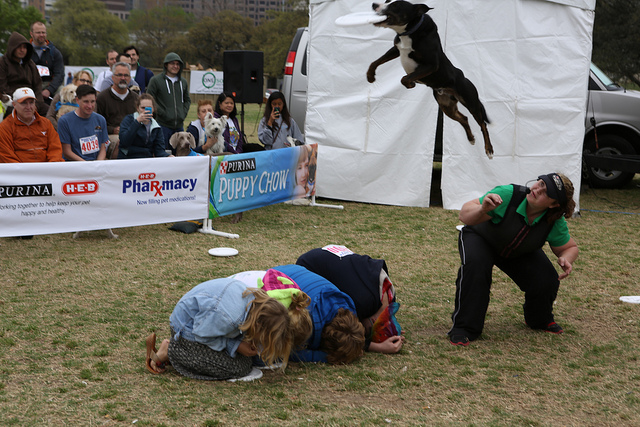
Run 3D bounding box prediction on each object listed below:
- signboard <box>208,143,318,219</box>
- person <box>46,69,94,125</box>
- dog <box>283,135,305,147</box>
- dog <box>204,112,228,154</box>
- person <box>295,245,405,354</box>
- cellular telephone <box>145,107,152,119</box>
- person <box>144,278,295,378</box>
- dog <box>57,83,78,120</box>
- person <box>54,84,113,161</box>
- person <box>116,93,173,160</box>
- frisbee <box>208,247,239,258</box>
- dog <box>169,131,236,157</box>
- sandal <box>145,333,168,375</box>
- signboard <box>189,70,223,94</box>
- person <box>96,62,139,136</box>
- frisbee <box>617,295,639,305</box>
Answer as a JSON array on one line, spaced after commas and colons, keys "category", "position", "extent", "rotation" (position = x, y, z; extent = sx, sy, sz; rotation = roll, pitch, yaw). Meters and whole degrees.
[{"category": "signboard", "position": [-0.889, -0.598, 12.197], "extent": [0.038, 0.979, 2.791], "rotation": [10, 14, 34]}, {"category": "person", "position": [-4.569, -2.370, 13.184], "extent": [0.886, 0.307, 0.406], "rotation": [-17, -29, 12]}, {"category": "dog", "position": [-0.482, -1.319, 13.092], "extent": [0.143, 0.231, 0.279], "rotation": [13, 4, -23]}, {"category": "dog", "position": [-1.838, -1.431, 12.655], "extent": [0.376, 0.747, 0.821], "rotation": [0, 12, -12]}, {"category": "person", "position": [0.455, 0.928, 8.411], "extent": [1.332, 1.015, 0.528], "rotation": [37, -10, -18]}, {"category": "cellular telephone", "position": [-2.671, -1.589, 11.375], "extent": [0.089, 0.192, 0.128], "rotation": [4, 14, 11]}, {"category": "person", "position": [-1.064, 1.325, 7.986], "extent": [1.748, 1.236, 0.901], "rotation": [7, 9, 25]}, {"category": "dog", "position": [-4.235, -1.945, 12.245], "extent": [0.332, 0.491, 0.316], "rotation": [2, 23, 23]}, {"category": "person", "position": [-3.593, -1.346, 11.248], "extent": [0.793, 1.313, 0.929], "rotation": [12, 11, 39]}, {"category": "person", "position": [-2.781, -1.354, 11.612], "extent": [1.044, 1.231, 0.760], "rotation": [2, 0, 32]}, {"category": "frisbee", "position": [-1.405, 0.562, 10.580], "extent": [0.450, 0.067, 0.299], "rotation": [2, 15, 1]}, {"category": "dog", "position": [-2.022, -1.143, 11.998], "extent": [0.700, 0.411, 0.820], "rotation": [-10, 19, -37]}, {"category": "sandal", "position": [-1.819, 1.559, 8.015], "extent": [0.177, 0.492, 0.155], "rotation": [-9, 2, 13]}, {"category": "signboard", "position": [-4.788, -5.558, 30.645], "extent": [1.278, 1.079, 1.834], "rotation": [-2, 15, -11]}, {"category": "person", "position": [-3.432, -1.980, 12.523], "extent": [0.813, 1.259, 0.669], "rotation": [0, 3, -32]}, {"category": "frisbee", "position": [4.103, 1.149, 9.638], "extent": [0.288, 0.036, 0.234], "rotation": [0, 15, -4]}]
